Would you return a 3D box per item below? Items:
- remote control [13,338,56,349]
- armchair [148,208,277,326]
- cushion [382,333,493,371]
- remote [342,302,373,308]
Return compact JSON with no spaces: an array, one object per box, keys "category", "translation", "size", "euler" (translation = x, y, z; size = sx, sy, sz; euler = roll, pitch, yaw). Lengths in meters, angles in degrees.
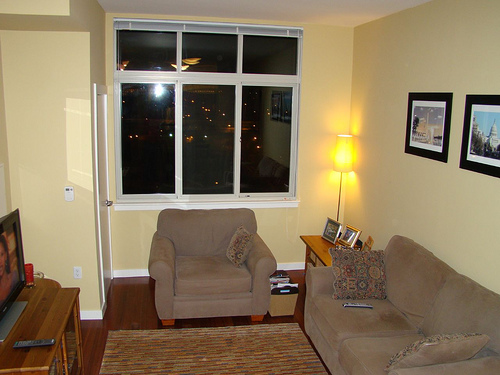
[{"category":"remote control","translation":[-1.616,1.162,2.912],"size":[0.184,0.021,0.104],"euler":[1,4,-12]},{"category":"armchair","translation":[-0.533,0.968,4.952],"size":[1.507,1.185,1.136],"euler":[1,8,-9]},{"category":"cushion","translation":[1.431,1.238,3.100],"size":[0.673,0.309,0.744],"euler":[-7,-9,24]},{"category":"remote","translation":[1.134,1.223,4.068],"size":[0.185,0.034,0.111],"euler":[-1,1,2]}]
